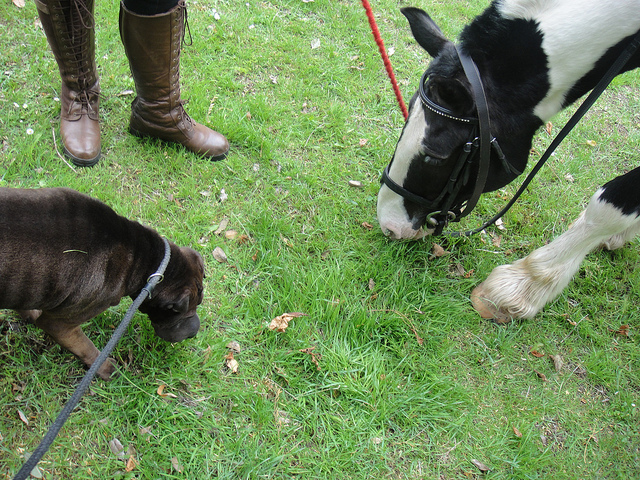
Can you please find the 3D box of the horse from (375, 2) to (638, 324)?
[{"bbox_3d":[1.399,-0.444,3.904,1.544,2.593,0.710,42,13,-46],"label":"horse"}]
